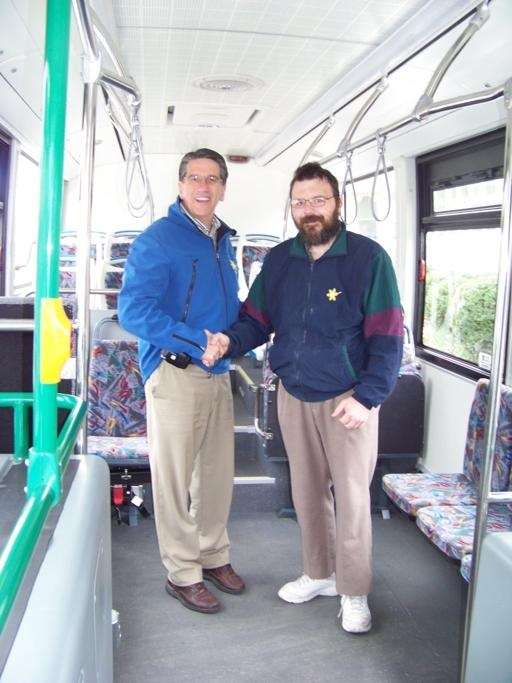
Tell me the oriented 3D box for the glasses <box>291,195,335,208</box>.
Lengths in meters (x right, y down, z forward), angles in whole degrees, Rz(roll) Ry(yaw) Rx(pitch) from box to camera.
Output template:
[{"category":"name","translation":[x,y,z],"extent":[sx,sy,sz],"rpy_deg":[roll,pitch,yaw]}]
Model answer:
[{"category":"glasses","translation":[0.260,-0.661,2.258],"extent":[0.209,0.069,0.095],"rpy_deg":[3,4,12]}]

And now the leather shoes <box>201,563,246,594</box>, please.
[{"category":"leather shoes","translation":[-0.187,1.260,2.594],"extent":[0.099,0.117,0.260],"rpy_deg":[4,0,-45]}]

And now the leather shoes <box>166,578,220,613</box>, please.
[{"category":"leather shoes","translation":[-0.328,1.281,2.415],"extent":[0.268,0.121,0.111],"rpy_deg":[6,4,37]}]

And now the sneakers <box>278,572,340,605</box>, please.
[{"category":"sneakers","translation":[0.263,1.298,2.555],"extent":[0.349,0.180,0.140],"rpy_deg":[1,3,-14]}]

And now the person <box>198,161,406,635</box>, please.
[{"category":"person","translation":[0.195,0.275,2.303],"extent":[0.892,2.159,0.700],"rpy_deg":[0,3,6]}]
